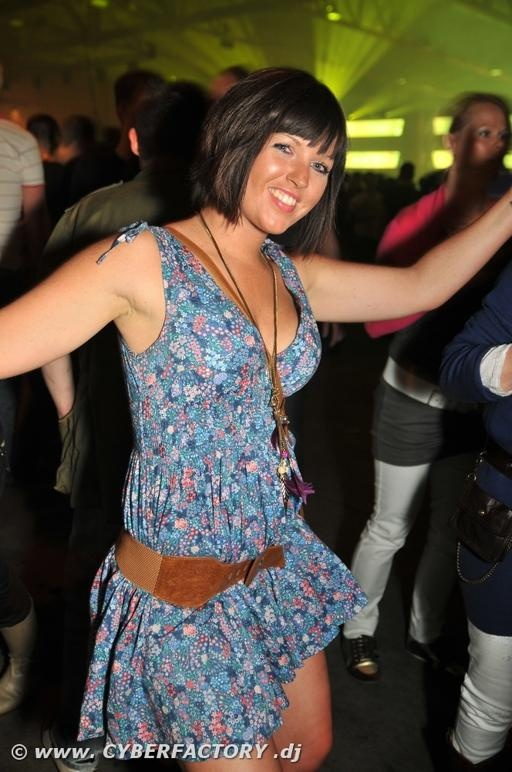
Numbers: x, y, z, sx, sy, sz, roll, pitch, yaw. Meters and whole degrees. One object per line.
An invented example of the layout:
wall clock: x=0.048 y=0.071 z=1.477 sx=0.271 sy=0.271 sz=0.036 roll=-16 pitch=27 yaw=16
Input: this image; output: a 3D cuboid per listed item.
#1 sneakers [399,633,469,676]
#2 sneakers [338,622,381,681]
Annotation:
sneakers: x=0.687 y=1.031 z=2.385 sx=0.082 sy=0.091 sz=0.232 roll=8 pitch=13 yaw=-32
sneakers: x=0.400 y=1.012 z=2.339 sx=0.123 sy=0.122 sz=0.323 roll=2 pitch=8 yaw=-3
